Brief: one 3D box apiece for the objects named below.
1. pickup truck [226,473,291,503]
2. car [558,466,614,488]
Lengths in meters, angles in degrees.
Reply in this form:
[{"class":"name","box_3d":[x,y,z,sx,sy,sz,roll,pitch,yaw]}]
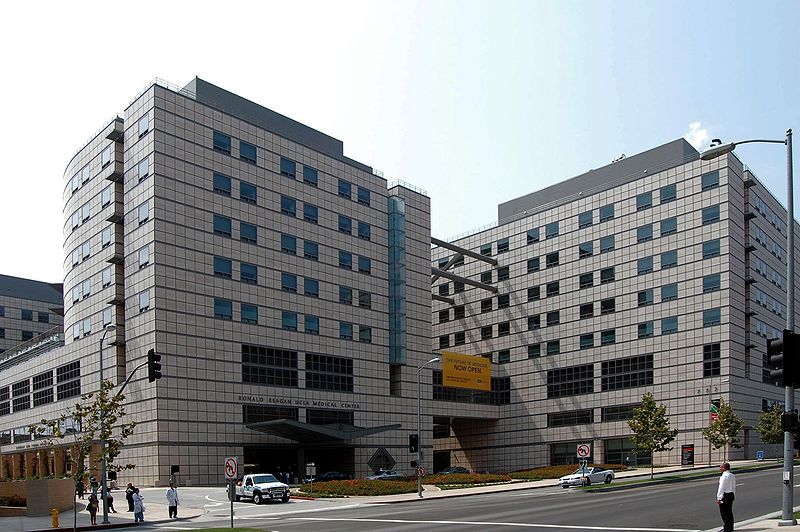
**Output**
[{"class":"pickup truck","box_3d":[-13.691,21.780,90.007,5.292,3.300,2.542,-18,-23,32]},{"class":"car","box_3d":[19.413,21.998,95.350,5.872,2.114,2.464,9,-24,-35]}]
